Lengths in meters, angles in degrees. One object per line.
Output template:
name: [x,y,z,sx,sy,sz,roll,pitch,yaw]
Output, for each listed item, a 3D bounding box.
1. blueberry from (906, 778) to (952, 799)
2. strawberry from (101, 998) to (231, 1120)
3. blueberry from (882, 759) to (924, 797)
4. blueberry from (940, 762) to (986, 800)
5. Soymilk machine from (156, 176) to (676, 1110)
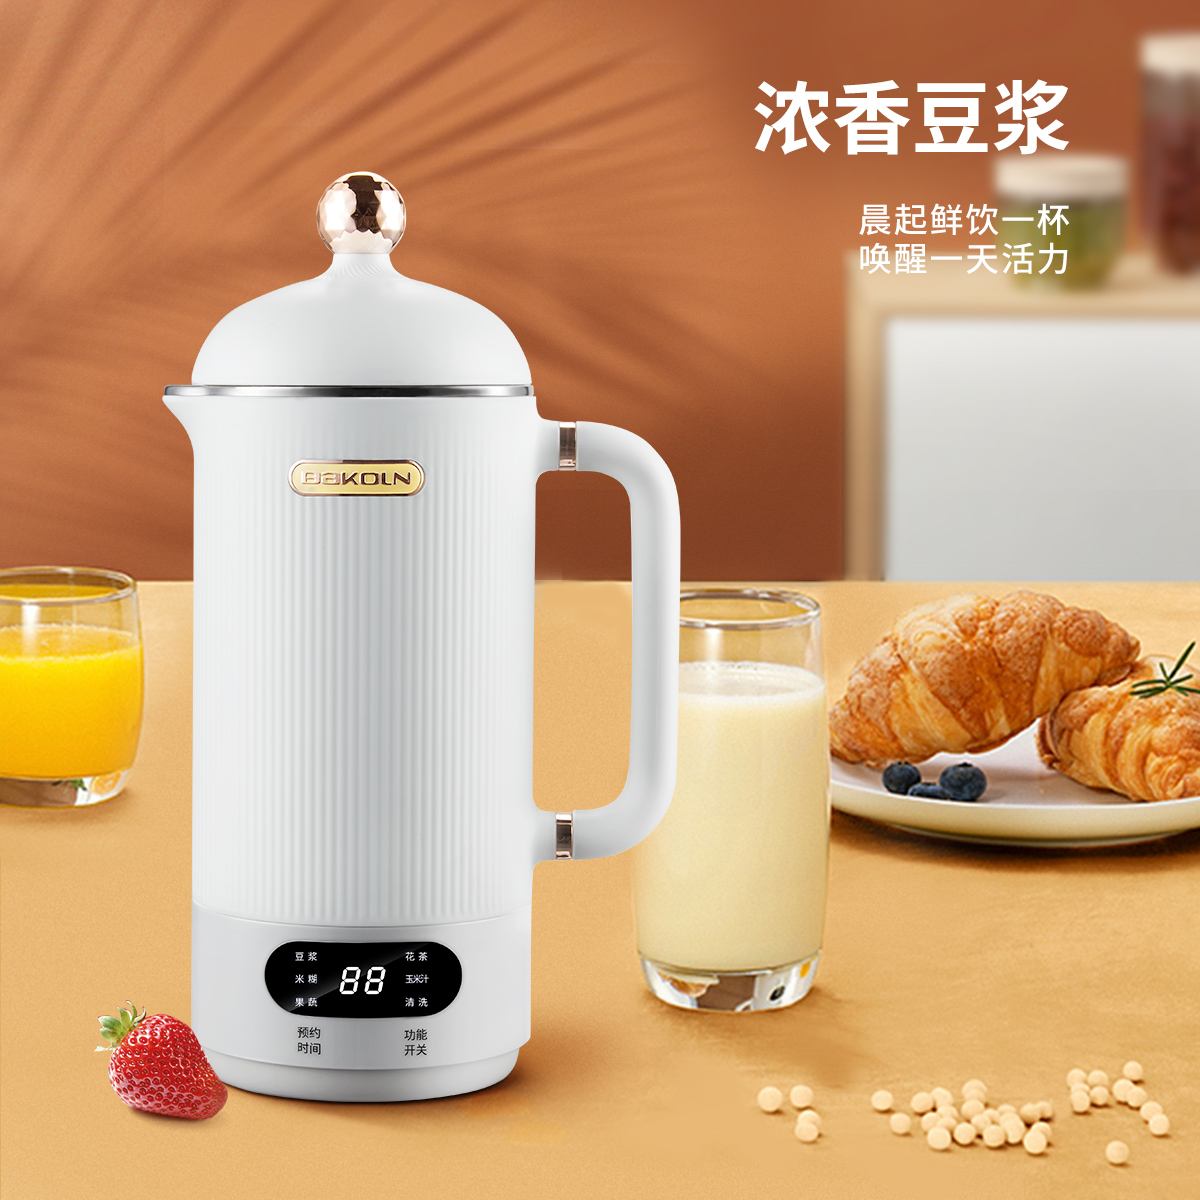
blueberry: [0.187,0.107,0.754,0.020,0.006,0.013,1,-2,7]
strawberry: [-0.159,0.170,0.491,0.051,0.025,0.028,25,24,6]
blueberry: [0.170,0.103,0.766,0.025,0.016,0.020,1,-3,-3]
blueberry: [0.203,0.105,0.779,0.029,0.019,0.025,-2,0,-24]
Soymilk machine: [-0.075,0.010,0.526,0.193,0.349,0.155,-5,14,-18]
